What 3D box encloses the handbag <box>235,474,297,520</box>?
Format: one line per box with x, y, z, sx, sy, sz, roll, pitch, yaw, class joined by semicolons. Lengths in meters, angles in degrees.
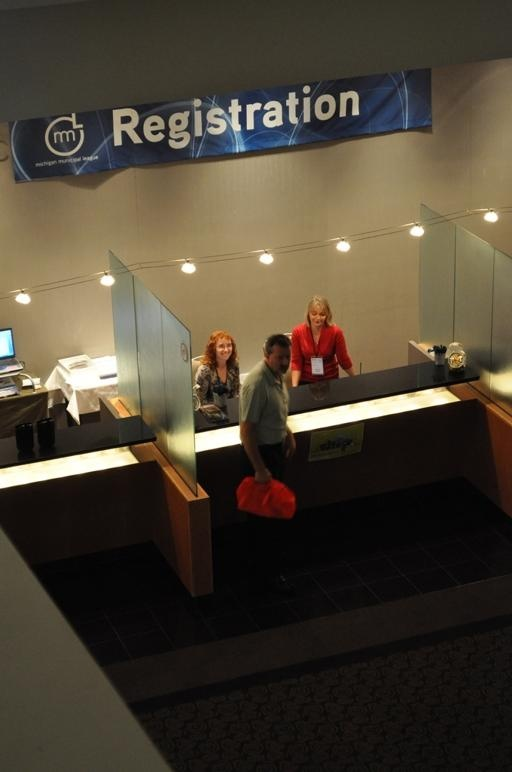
0.071;0.754;4.110;0.347;0.264;0.239;13;8;6;handbag

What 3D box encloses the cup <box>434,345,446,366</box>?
1.436;-0.226;4.732;0.102;0.137;0.098;-4;19;1;cup

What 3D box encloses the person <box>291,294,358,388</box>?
0.574;-0.389;5.271;0.439;0.796;0.517;3;-10;-32;person

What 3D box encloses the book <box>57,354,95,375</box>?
-1.953;-0.242;6.619;0.237;0.061;0.243;-12;28;-22;book

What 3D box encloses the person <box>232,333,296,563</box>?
0.088;0.466;4.101;0.344;1.441;1.007;-3;-9;2;person

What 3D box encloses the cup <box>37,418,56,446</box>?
-1.338;0.302;3.893;0.103;0.178;0.115;1;23;3;cup
